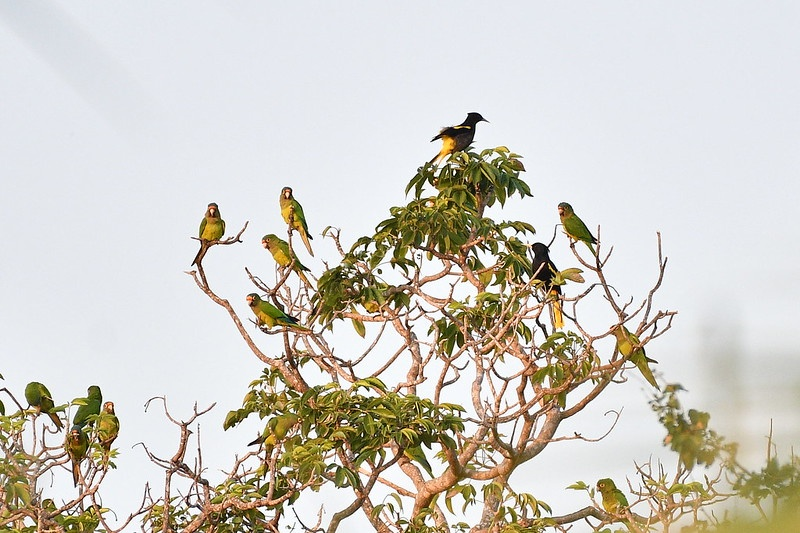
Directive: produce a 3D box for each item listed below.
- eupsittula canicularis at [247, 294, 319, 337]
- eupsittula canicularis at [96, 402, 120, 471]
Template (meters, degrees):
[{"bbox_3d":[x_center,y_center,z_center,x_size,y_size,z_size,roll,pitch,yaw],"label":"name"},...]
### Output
[{"bbox_3d":[-1.171,0.437,10.371,0.654,0.321,0.174,6,-2,-33],"label":"eupsittula canicularis"},{"bbox_3d":[-2.700,1.544,9.972,0.198,0.420,0.648,3,-26,-18],"label":"eupsittula canicularis"}]
